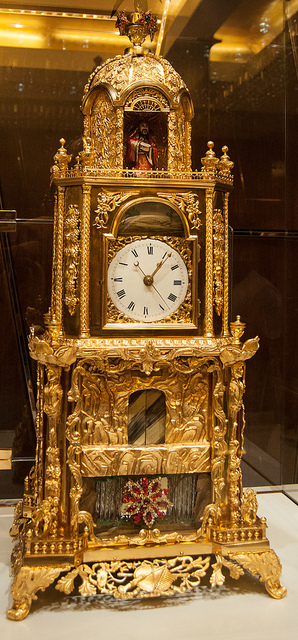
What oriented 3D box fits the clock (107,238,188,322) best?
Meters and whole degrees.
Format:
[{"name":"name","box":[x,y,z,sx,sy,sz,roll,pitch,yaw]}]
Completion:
[{"name":"clock","box":[-0.027,-0.219,3.804,0.375,0.433,0.068,1,3,-4]}]
